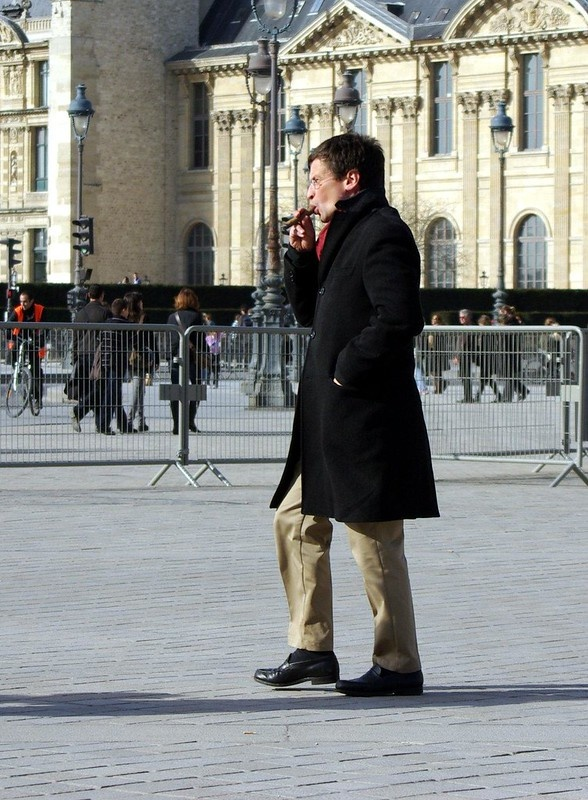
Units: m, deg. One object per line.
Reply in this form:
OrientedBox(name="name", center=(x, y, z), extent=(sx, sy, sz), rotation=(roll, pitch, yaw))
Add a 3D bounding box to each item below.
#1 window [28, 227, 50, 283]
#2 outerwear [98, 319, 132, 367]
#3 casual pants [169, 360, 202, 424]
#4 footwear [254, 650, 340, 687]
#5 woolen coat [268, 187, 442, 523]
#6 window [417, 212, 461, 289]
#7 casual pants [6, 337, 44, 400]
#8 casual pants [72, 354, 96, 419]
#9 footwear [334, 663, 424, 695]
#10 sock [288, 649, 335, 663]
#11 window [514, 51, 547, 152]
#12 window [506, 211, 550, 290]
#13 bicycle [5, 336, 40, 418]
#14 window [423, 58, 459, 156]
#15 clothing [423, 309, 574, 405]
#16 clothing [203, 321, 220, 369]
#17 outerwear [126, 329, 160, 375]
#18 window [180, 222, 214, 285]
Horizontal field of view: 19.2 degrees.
OrientedBox(name="window", center=(-8.650, -4.999, 59.797), extent=(0.656, 2.008, 0.155), rotation=(1, 0, 26))
OrientedBox(name="outerwear", center=(-1.137, -0.353, 11.142), extent=(0.212, 0.407, 0.212), rotation=(1, 8, -3))
OrientedBox(name="casual pants", center=(-0.703, -0.025, 11.356), extent=(0.141, 0.471, 0.347), rotation=(0, 1, 31))
OrientedBox(name="footwear", center=(0.007, 0.796, 5.213), extent=(0.250, 0.124, 0.104), rotation=(1, -3, -2))
OrientedBox(name="woolen coat", center=(0.173, -0.133, 5.077), extent=(0.461, 0.976, 0.355), rotation=(0, 1, 12))
OrientedBox(name="window", center=(4.226, -4.145, 49.130), extent=(0.938, 2.428, 0.126), rotation=(0, 29, 4))
OrientedBox(name="casual pants", center=(-1.621, -0.241, 10.827), extent=(0.211, 0.290, 0.444), rotation=(7, 6, -27))
OrientedBox(name="casual pants", center=(-1.308, -0.102, 10.868), extent=(0.167, 0.356, 0.032), rotation=(-2, -13, 22))
OrientedBox(name="footwear", center=(0.248, 0.821, 5.097), extent=(0.254, 0.120, 0.098), rotation=(3, -7, -1))
OrientedBox(name="sock", center=(0.050, 0.760, 5.168), extent=(0.138, 0.055, 0.049), rotation=(3, -4, -2))
OrientedBox(name="window", center=(6.392, -8.152, 47.088), extent=(0.679, 2.531, 0.636), rotation=(0, 1, 12))
OrientedBox(name="window", center=(6.540, -4.018, 47.557), extent=(0.786, 2.369, 0.094), rotation=(0, -8, 8))
OrientedBox(name="bicycle", center=(-1.669, -0.117, 10.669), extent=(0.203, 0.294, 0.457), rotation=(7, -4, -18))
OrientedBox(name="window", center=(4.136, -8.264, 49.104), extent=(0.682, 2.593, 0.985), rotation=(0, 1, 5))
OrientedBox(name="clothing", center=(1.307, -0.246, 11.669), extent=(1.255, 0.528, 0.343), rotation=(0, 1, 37))
OrientedBox(name="clothing", center=(-0.543, -0.306, 11.547), extent=(0.073, 0.322, 0.078), rotation=(0, -6, -8))
OrientedBox(name="outerwear", center=(-0.968, -0.310, 11.240), extent=(0.229, 0.461, 0.250), rotation=(-1, 3, 1))
OrientedBox(name="window", center=(-2.948, -4.691, 55.999), extent=(0.948, 2.440, 0.063), rotation=(0, -17, -2))
